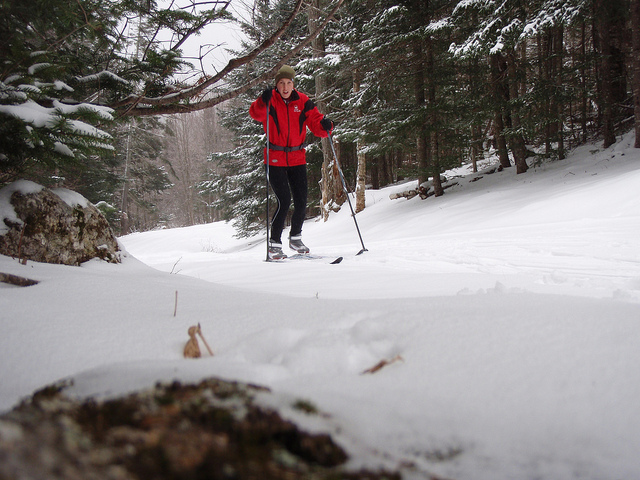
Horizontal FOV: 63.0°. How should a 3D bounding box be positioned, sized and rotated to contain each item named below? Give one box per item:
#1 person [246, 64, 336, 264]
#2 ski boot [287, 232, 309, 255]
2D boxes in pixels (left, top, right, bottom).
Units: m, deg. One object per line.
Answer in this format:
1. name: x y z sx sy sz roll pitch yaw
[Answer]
1. person: -0.329 -0.904 6.272 0.873 2.212 0.862 -8 7 -7
2. ski boot: -0.287 0.045 6.665 0.372 0.287 0.131 15 19 41
